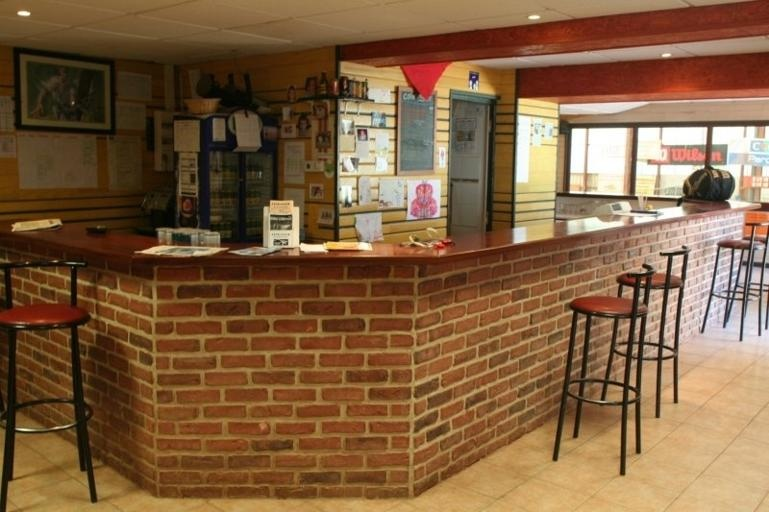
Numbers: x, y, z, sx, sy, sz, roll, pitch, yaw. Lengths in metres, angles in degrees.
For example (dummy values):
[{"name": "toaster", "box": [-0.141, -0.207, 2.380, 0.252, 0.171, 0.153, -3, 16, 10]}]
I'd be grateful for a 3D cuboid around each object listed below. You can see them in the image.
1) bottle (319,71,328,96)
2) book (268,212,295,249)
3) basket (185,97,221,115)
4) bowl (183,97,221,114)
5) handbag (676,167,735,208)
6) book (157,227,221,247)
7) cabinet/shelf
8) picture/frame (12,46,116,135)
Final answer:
[{"name": "bottle", "box": [-0.650, -1.880, 6.942, 0.089, 0.245, 0.094, 1, 14, 0]}, {"name": "book", "box": [-0.740, -0.179, 4.555, 0.190, 0.232, 0.089, -1, 14, -8]}, {"name": "basket", "box": [-2.059, -1.696, 7.185, 0.337, 0.092, 0.294, -2, 7, -22]}, {"name": "bowl", "box": [-2.052, -1.692, 7.189, 0.337, 0.092, 0.297, -2, 6, -25]}, {"name": "handbag", "box": [4.303, -0.948, 8.647, 0.755, 0.485, 0.612, -1, 15, 0]}, {"name": "book", "box": [-1.428, -0.141, 4.684, 0.490, 0.102, 0.246, 1, 11, 3]}, {"name": "cabinet/shelf", "box": [-1.815, -0.903, 7.415, 1.192, 1.546, 0.461, -2, 15, -13]}, {"name": "picture/frame", "box": [-3.738, -1.912, 7.309, 1.290, 0.805, 0.134, -6, 11, -39]}]
